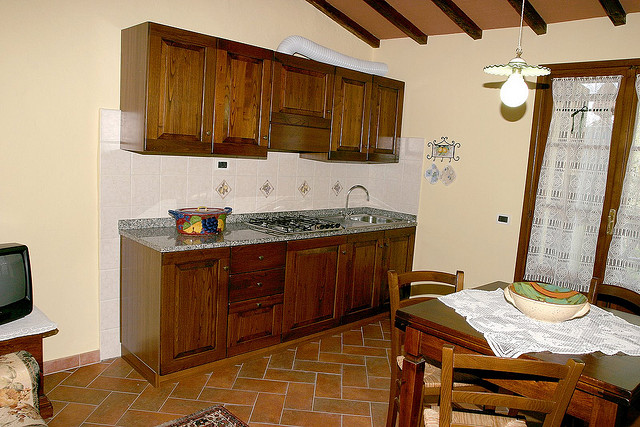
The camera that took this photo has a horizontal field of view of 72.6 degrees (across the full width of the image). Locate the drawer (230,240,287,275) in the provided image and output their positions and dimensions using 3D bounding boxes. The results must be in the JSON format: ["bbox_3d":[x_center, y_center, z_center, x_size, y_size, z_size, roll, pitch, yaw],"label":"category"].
[{"bbox_3d":[-0.605,0.347,3.889,0.570,0.253,0.356,-5,13,-41],"label":"drawer"}]

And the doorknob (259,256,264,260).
[{"bbox_3d":[-0.503,0.386,3.744,0.029,0.021,0.022,23,-21,0],"label":"doorknob"}]

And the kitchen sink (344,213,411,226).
[{"bbox_3d":[0.669,0.066,5.104,0.731,0.100,0.386,1,7,9],"label":"kitchen sink"}]

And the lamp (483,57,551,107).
[{"bbox_3d":[1.318,-0.860,2.922,0.369,0.279,0.368,7,17,25],"label":"lamp"}]

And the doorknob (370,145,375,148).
[{"bbox_3d":[0.573,-0.727,4.711,0.035,0.031,0.018,-6,25,-18],"label":"doorknob"}]

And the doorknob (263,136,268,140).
[{"bbox_3d":[-0.494,-0.682,3.909,0.036,0.034,0.016,-1,7,-19],"label":"doorknob"}]
